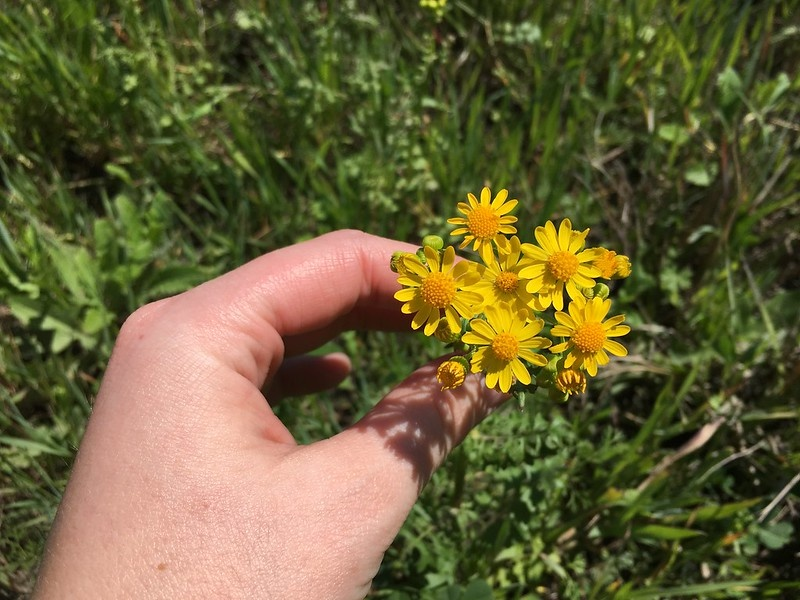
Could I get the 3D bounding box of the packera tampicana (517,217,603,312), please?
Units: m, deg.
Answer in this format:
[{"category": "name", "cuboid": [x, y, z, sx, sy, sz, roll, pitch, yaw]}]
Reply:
[{"category": "packera tampicana", "cuboid": [0.724, -0.191, 3.073, 0.360, 0.391, 0.137, 14, 72, -25]}]
